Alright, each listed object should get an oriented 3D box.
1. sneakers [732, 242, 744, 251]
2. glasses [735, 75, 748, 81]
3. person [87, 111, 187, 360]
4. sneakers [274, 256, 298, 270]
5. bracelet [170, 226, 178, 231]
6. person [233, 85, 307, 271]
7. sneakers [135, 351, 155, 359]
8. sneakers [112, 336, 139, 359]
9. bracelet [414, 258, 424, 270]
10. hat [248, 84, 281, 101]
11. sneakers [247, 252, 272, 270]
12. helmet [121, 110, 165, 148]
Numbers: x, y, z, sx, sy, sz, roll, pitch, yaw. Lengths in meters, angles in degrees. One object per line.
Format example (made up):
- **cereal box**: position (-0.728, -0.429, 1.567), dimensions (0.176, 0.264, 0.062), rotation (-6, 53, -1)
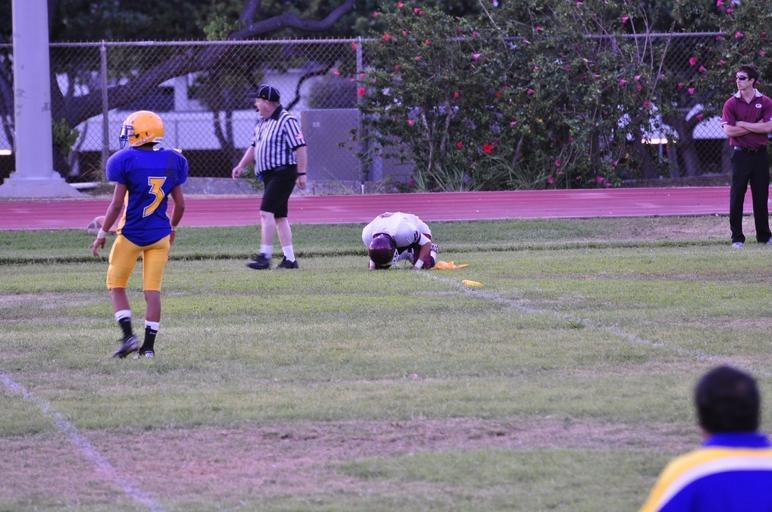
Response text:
- **sneakers**: position (5.658, -0.114, 28.914), dimensions (0.168, 0.087, 0.054), rotation (-5, 7, -31)
- **glasses**: position (5.656, -2.689, 28.675), dimensions (0.096, 0.096, 0.238), rotation (-3, 4, -33)
- **person**: position (-3.537, -0.251, 24.642), dimensions (1.151, 3.222, 0.594), rotation (-1, 3, -9)
- **sneakers**: position (-1.736, 0.177, 28.454), dimensions (0.421, 0.151, 0.135), rotation (4, 6, 21)
- **bracelet**: position (-3.230, -0.337, 25.566), dimensions (0.106, 0.088, 0.103), rotation (0, -1, -10)
- **person**: position (-1.923, -1.146, 28.468), dimensions (0.913, 2.794, 0.417), rotation (-1, 3, -1)
- **sneakers**: position (-3.489, 1.337, 24.478), dimensions (0.284, 0.080, 0.111), rotation (1, -2, -3)
- **sneakers**: position (-3.753, 1.252, 24.518), dimensions (0.378, 0.182, 0.229), rotation (-34, -33, 20)
- **bracelet**: position (0.386, 0.171, 28.259), dimensions (0.119, 0.158, 0.073), rotation (13, -12, -41)
- **hat**: position (-2.140, -2.433, 28.467), dimensions (0.468, 0.167, 0.273), rotation (3, 16, 2)
- **sneakers**: position (-2.182, 0.136, 28.460), dimensions (0.417, 0.243, 0.195), rotation (6, 2, -2)
- **helmet**: position (-3.558, -1.643, 24.786), dimensions (0.679, 0.439, 0.484), rotation (-2, 8, -6)
